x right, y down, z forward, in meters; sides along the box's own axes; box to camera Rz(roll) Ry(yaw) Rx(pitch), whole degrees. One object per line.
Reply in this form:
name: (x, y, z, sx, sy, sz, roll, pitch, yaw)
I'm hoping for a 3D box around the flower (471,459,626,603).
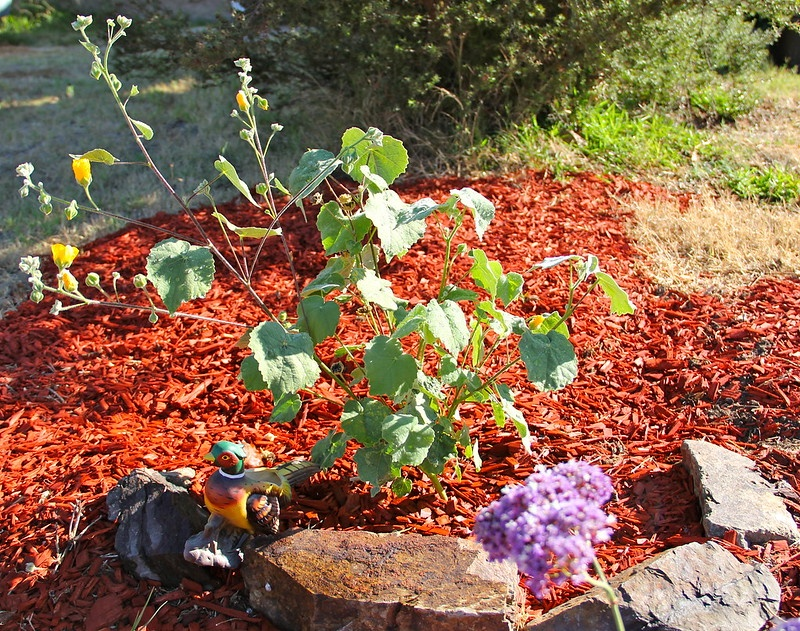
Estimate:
flower: (0.582, 0.849, 3.040, 0.532, 0.397, 0.477, -31, 58, -6)
